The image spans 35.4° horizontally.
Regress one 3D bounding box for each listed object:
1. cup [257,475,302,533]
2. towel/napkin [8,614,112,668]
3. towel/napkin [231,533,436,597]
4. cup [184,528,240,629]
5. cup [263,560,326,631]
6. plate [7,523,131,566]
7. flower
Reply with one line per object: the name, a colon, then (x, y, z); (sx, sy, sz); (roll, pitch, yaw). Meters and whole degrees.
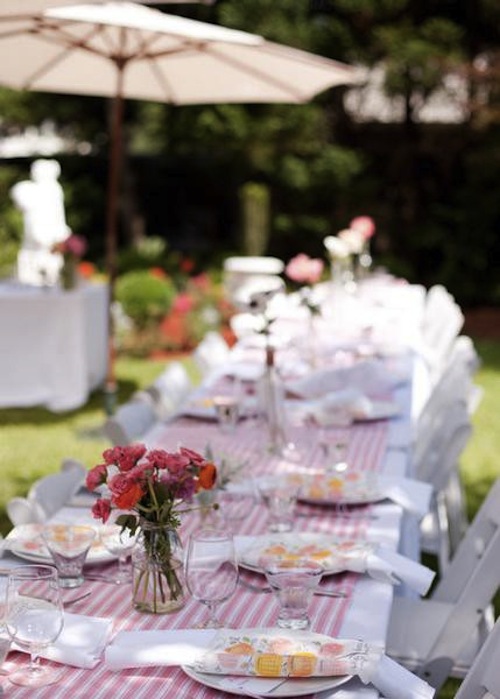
cup: (0.081, 0.352, 1.786); (0.115, 0.105, 0.111); (1, 3, 0)
towel/napkin: (-0.284, 0.457, 1.204); (0.160, 0.035, 0.157); (1, -1, -25)
towel/napkin: (0.164, 0.400, 1.527); (0.275, 0.064, 0.206); (6, -1, -2)
cup: (-0.063, 0.359, 1.273); (0.076, 0.118, 0.077); (2, 24, -1)
cup: (0.072, 0.386, 1.246); (0.122, 0.099, 0.106); (0, 5, -1)
plate: (-0.385, 0.394, 1.546); (0.163, 0.024, 0.155); (2, 2, 0)
flower: (-0.173, 0.314, 1.349); (0.287, 0.262, 0.242); (3, -19, -10)
